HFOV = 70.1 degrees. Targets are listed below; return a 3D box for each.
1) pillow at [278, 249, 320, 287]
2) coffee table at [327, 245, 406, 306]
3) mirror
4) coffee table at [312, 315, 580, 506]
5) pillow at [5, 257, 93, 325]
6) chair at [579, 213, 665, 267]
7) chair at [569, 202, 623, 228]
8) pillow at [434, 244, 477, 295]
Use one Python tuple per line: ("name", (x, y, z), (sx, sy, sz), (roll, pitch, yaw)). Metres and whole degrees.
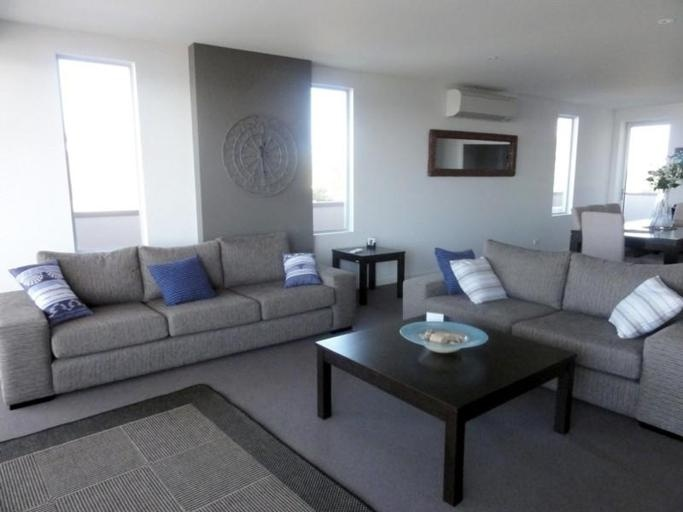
("pillow", (-0.416, 0.114, 5.065), (0.400, 0.429, 0.118), (11, -27, -12))
("coffee table", (0.393, 0.106, 6.159), (0.790, 0.734, 0.781), (-8, 16, -34))
("mirror", (2.035, -1.549, 7.491), (1.729, 0.691, 0.066), (-4, 11, -26))
("coffee table", (0.818, 0.784, 3.155), (1.132, 0.511, 1.072), (-4, 8, -37))
("pillow", (-2.357, 0.288, 3.919), (0.728, 0.192, 0.456), (48, 33, 18))
("chair", (3.167, -0.177, 5.546), (0.513, 0.939, 0.501), (-9, 13, -32))
("chair", (3.336, -0.541, 6.452), (0.749, 0.267, 0.238), (-6, 9, -35))
("pillow", (1.033, 0.153, 4.748), (0.456, 0.429, 0.140), (-3, -16, -37))
